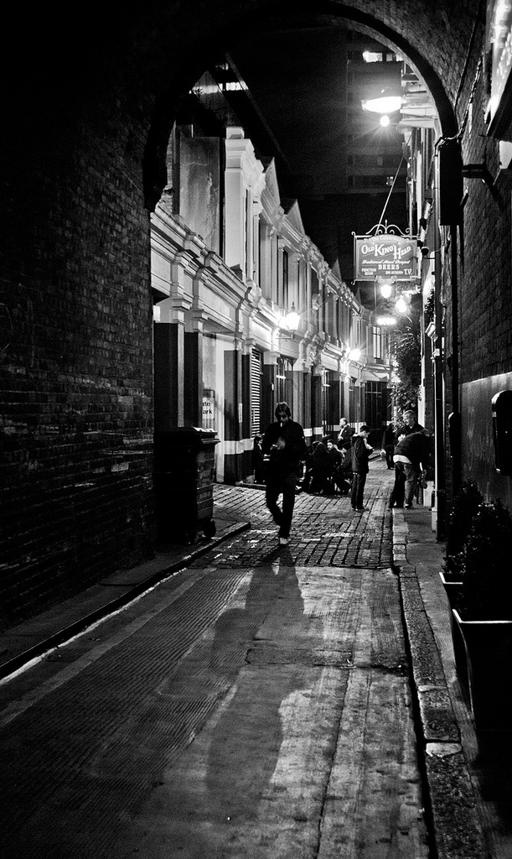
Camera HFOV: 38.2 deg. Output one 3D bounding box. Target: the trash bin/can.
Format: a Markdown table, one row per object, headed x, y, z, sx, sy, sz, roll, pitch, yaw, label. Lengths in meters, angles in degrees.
| x | y | z | sx | sy | sz | roll | pitch | yaw | label |
| --- | --- | --- | --- | --- | --- | --- | --- | --- | --- |
| -0.914 | 0.754 | 9.965 | 0.598 | 1.559 | 1.074 | -1 | -2 | 30 | trash bin/can |

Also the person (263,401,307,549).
| x | y | z | sx | sy | sz | roll | pitch | yaw | label |
| --- | --- | --- | --- | --- | --- | --- | --- | --- | --- |
| 0.395 | 0.628 | 10.777 | 0.572 | 2.022 | 1.112 | 0 | -2 | 0 | person |
